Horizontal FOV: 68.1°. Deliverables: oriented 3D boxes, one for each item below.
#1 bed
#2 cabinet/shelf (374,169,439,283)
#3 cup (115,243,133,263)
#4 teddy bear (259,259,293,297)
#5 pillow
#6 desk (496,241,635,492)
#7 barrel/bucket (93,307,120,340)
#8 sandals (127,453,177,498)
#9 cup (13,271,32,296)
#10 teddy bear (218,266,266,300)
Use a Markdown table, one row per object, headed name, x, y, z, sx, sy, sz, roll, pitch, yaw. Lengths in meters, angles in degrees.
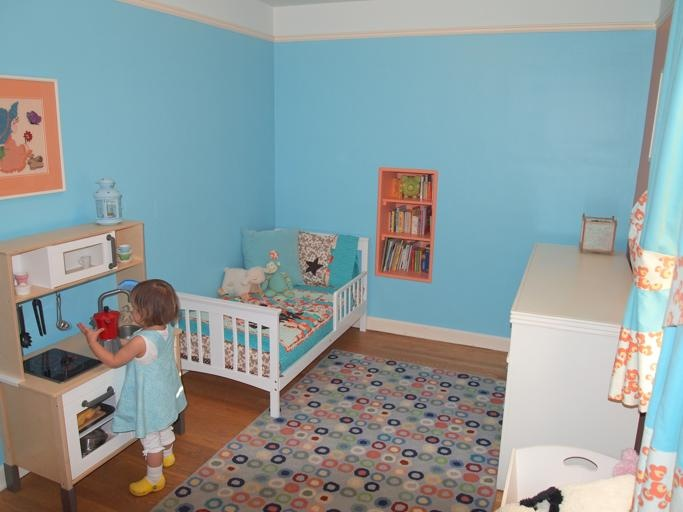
| name | x | y | z | sx | sy | sz | roll | pitch | yaw |
| --- | --- | --- | --- | --- | --- | --- | --- | --- | --- |
| bed | -0.546 | 0.438 | 4.325 | 1.044 | 0.833 | 1.399 | 7 | 19 | 23 |
| cabinet/shelf | 0.650 | -0.339 | 5.031 | 0.590 | 1.070 | 0.410 | 4 | 13 | 11 |
| cup | -1.399 | -0.027 | 3.250 | 0.076 | 0.084 | 0.117 | -1 | 3 | -15 |
| teddy bear | -0.624 | 0.198 | 4.741 | 0.315 | 0.354 | 0.265 | -5 | 31 | 7 |
| pillow | -0.414 | 0.069 | 4.839 | 0.977 | 0.613 | 0.260 | 3 | -3 | -5 |
| desk | 1.264 | 0.600 | 2.798 | 0.484 | 1.055 | 1.227 | 5 | 23 | 15 |
| barrel/bucket | -1.385 | 0.403 | 3.055 | 0.121 | 0.204 | 0.192 | -3 | 4 | -34 |
| sandals | -1.176 | 1.317 | 3.142 | 0.124 | 0.247 | 0.263 | 22 | 10 | 39 |
| cup | -1.757 | 0.142 | 2.776 | 0.074 | 0.109 | 0.108 | -5 | 14 | -31 |
| teddy bear | -0.900 | 0.221 | 4.576 | 0.349 | 0.252 | 0.258 | 2 | 9 | 10 |
